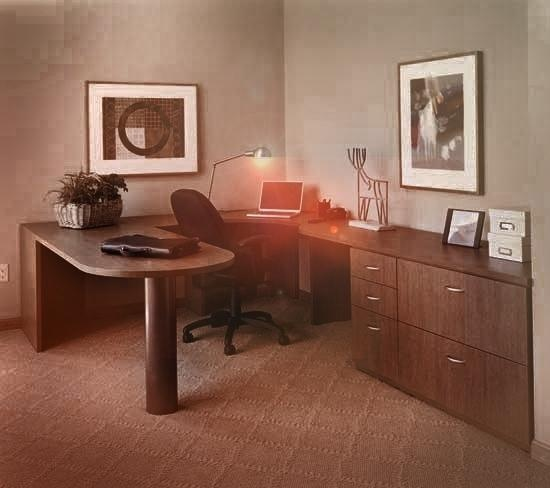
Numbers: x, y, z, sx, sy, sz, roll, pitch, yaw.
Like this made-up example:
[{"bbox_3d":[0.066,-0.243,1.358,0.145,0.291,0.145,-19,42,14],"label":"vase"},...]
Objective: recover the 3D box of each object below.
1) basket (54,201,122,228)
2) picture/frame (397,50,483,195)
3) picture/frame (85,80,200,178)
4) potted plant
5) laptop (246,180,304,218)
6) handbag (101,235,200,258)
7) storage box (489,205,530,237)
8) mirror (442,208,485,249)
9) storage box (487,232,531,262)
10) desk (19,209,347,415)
[{"bbox_3d":[-1.251,-0.197,3.227,0.236,0.131,0.297,3,3,43],"label":"basket"},{"bbox_3d":[0.970,-0.722,2.814,0.044,0.807,0.673,-5,10,-25],"label":"picture/frame"},{"bbox_3d":[-1.101,-0.950,3.773,0.805,0.720,0.035,-3,7,-22],"label":"picture/frame"},{"bbox_3d":[-1.325,-0.299,3.281,0.423,0.314,0.442,3,6,26],"label":"potted plant"},{"bbox_3d":[0.046,-0.387,3.959,0.386,0.300,0.340,2,5,22],"label":"laptop"},{"bbox_3d":[-0.596,0.004,2.251,0.429,0.075,0.238,3,10,22],"label":"handbag"},{"bbox_3d":[1.036,-0.108,2.071,0.130,0.088,0.136,0,5,18],"label":"storage box"},{"bbox_3d":[0.995,-0.079,2.478,0.027,0.190,0.202,14,-3,-28],"label":"mirror"},{"bbox_3d":[1.031,0.010,2.093,0.061,0.115,0.192,-6,11,-31],"label":"storage box"},{"bbox_3d":[-0.870,0.266,3.331,1.414,0.662,1.446,-6,11,-36],"label":"desk"}]
